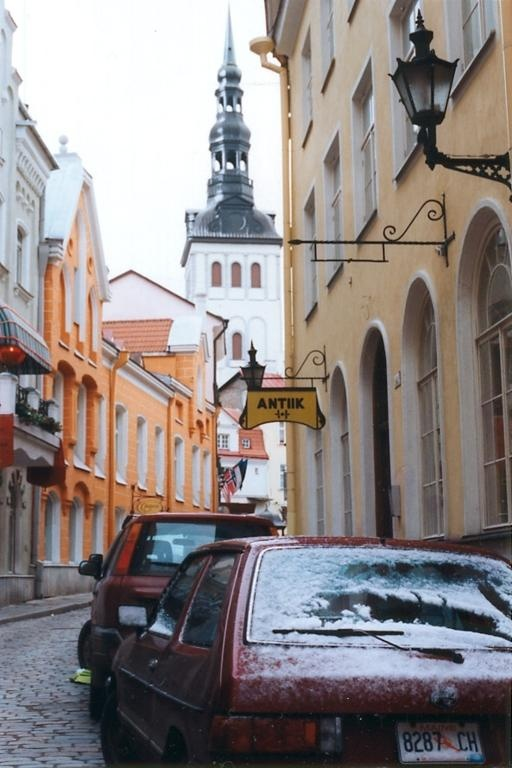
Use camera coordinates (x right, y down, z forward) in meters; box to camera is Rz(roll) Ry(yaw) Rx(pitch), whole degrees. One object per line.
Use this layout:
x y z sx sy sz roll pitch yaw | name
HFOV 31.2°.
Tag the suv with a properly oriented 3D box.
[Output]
-0.828 1.815 7.743 1.048 1.364 2.170 1 -7 -5 | suv
